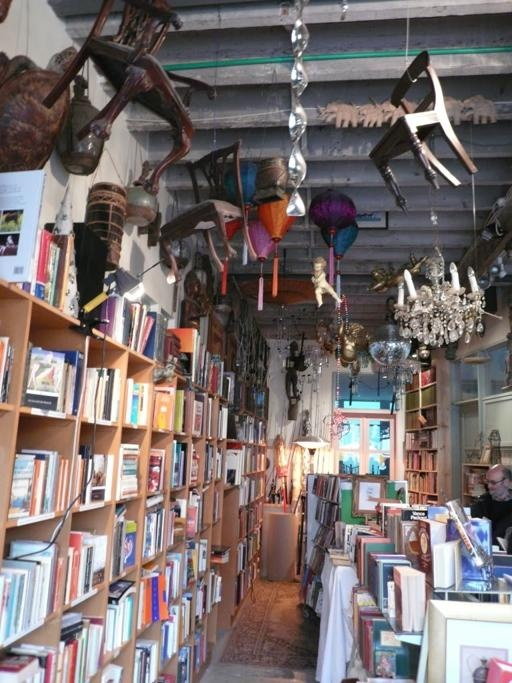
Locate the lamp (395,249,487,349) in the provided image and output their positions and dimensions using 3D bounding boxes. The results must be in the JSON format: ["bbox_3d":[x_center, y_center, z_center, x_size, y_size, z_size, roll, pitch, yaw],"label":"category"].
[{"bbox_3d":[1.274,-0.332,3.989,0.600,0.755,0.610,-12,11,-23],"label":"lamp"}]
